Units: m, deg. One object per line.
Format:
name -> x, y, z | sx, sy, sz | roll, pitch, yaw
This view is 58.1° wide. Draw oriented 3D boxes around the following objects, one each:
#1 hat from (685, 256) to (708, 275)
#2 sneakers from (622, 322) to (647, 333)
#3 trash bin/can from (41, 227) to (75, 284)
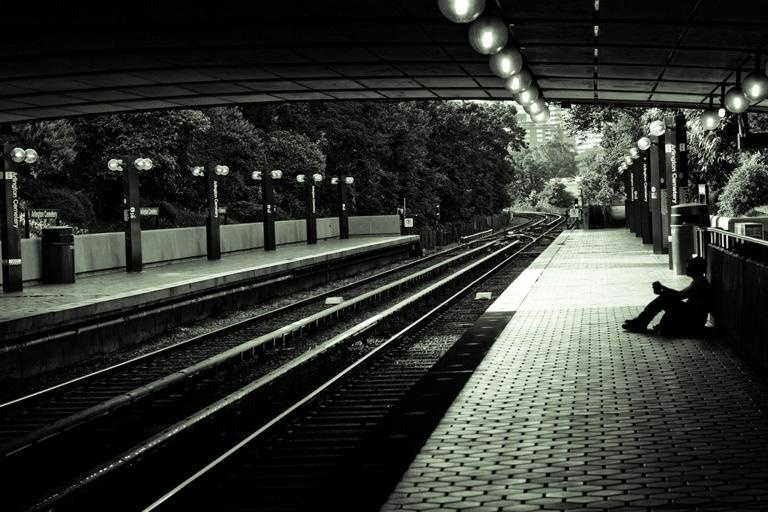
hat -> 5.112, 0.148, 11.318 | 0.408, 0.325, 0.291 | 2, 2, 13
sneakers -> 4.274, 1.202, 11.740 | 0.472, 0.209, 0.167 | -1, 1, 27
trash bin/can -> -8.728, -0.027, 18.433 | 0.804, 1.508, 0.606 | -3, 5, -20
